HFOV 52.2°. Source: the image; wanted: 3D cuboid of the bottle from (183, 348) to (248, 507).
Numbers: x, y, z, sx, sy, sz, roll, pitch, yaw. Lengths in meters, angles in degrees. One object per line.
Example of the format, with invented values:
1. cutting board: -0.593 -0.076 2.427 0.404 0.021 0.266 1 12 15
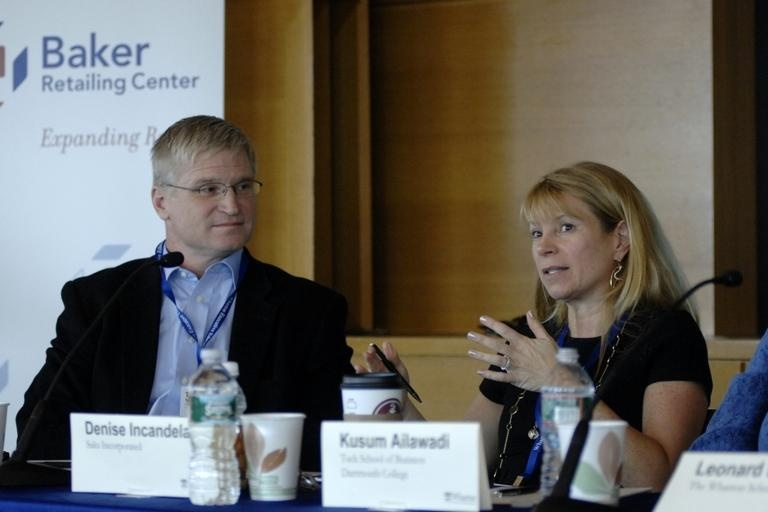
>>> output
1. bottle: -0.425 0.420 1.973 0.130 0.374 0.219 -1 3 -11

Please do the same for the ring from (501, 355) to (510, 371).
1. ring: 0.361 0.315 2.294 0.014 0.040 0.036 10 -33 -14

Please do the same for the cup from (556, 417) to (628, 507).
1. cup: 0.490 0.487 1.873 0.177 0.189 0.181 3 -8 0

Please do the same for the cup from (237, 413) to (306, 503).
1. cup: -0.274 0.491 1.922 0.189 0.206 0.191 -1 -5 0

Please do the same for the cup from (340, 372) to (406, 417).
1. cup: -0.031 0.361 2.103 0.126 0.097 0.127 -1 -4 0
